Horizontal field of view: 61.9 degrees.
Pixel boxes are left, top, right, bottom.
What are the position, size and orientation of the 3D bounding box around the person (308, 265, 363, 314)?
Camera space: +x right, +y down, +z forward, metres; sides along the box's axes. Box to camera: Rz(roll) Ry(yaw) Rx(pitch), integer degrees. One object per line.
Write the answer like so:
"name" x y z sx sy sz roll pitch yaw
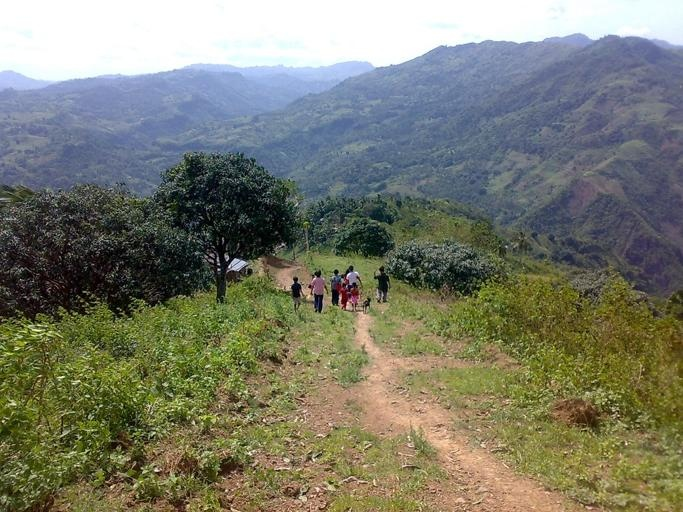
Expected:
"person" -0.328 1.584 25.849 1.610 1.438 0.710 2 16 6
